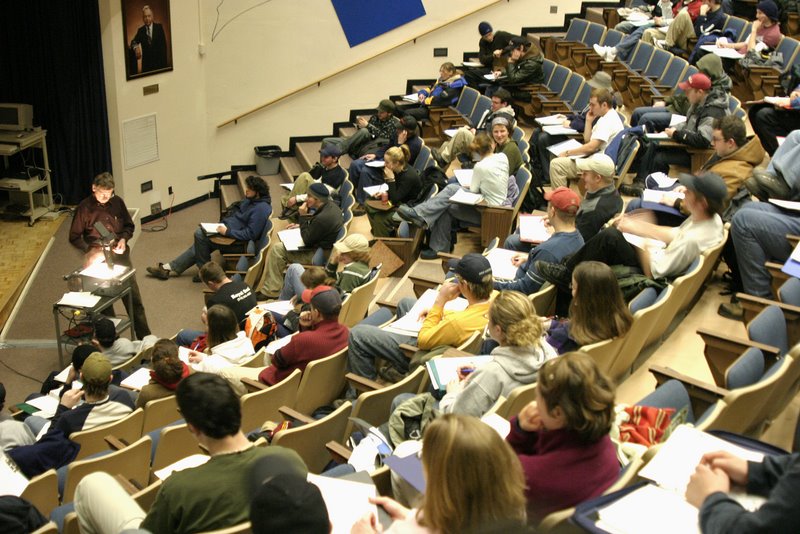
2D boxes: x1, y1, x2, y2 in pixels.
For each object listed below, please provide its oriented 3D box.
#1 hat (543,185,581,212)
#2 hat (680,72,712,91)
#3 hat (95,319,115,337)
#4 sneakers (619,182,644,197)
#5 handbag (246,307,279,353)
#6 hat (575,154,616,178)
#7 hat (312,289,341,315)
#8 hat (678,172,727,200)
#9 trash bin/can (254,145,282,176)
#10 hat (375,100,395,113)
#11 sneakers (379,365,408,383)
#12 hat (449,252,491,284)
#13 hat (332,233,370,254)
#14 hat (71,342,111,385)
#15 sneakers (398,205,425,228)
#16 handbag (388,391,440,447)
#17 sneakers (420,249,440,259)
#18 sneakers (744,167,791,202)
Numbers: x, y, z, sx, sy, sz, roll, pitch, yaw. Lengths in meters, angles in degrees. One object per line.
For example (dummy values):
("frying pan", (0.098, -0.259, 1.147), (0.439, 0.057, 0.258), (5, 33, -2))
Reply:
("hat", (1.325, -0.543, 4.774), (0.167, 0.158, 0.286), (-3, 35, -11))
("hat", (3.347, -2.053, 6.593), (0.343, 0.222, 0.253), (14, 38, 20))
("hat", (-2.899, 0.607, 5.684), (0.157, 0.191, 0.158), (9, 18, 42))
("sneakers", (2.690, -0.888, 6.725), (0.246, 0.162, 0.346), (7, 6, 34))
("handbag", (-1.342, 0.601, 5.597), (0.312, 0.319, 0.469), (-13, 17, -35))
("hat", (1.812, -0.916, 5.356), (0.336, 0.186, 0.234), (19, 26, 12))
("hat", (-0.574, 0.281, 4.551), (0.151, 0.129, 0.224), (-4, 46, -18))
("hat", (2.299, -0.613, 4.405), (0.284, 0.112, 0.200), (29, 37, 9))
("trash bin/can", (-2.746, -2.198, 12.006), (0.619, 0.571, 0.557), (-2, 20, -6))
("hat", (-0.257, -2.605, 9.689), (0.284, 0.160, 0.224), (23, 40, 10))
("sneakers", (-0.061, 0.813, 4.391), (0.217, 0.112, 0.104), (-4, 13, -1))
("hat", (0.520, 0.017, 4.070), (0.242, 0.195, 0.127), (-1, 13, 7))
("hat", (-0.535, -0.246, 6.356), (0.278, 0.158, 0.212), (5, 10, -3))
("hat", (-2.601, 0.821, 4.868), (0.232, 0.197, 0.373), (-3, 35, -24))
("sneakers", (0.125, -0.560, 6.672), (0.264, 0.217, 0.109), (38, -4, 27))
("handbag", (0.078, 0.937, 3.573), (0.325, 0.265, 0.270), (-4, 13, -4))
("sneakers", (0.333, -0.137, 6.771), (0.181, 0.102, 0.078), (2, -3, 5))
("sneakers", (3.209, -0.710, 5.054), (0.262, 0.132, 0.243), (14, 10, 14))
